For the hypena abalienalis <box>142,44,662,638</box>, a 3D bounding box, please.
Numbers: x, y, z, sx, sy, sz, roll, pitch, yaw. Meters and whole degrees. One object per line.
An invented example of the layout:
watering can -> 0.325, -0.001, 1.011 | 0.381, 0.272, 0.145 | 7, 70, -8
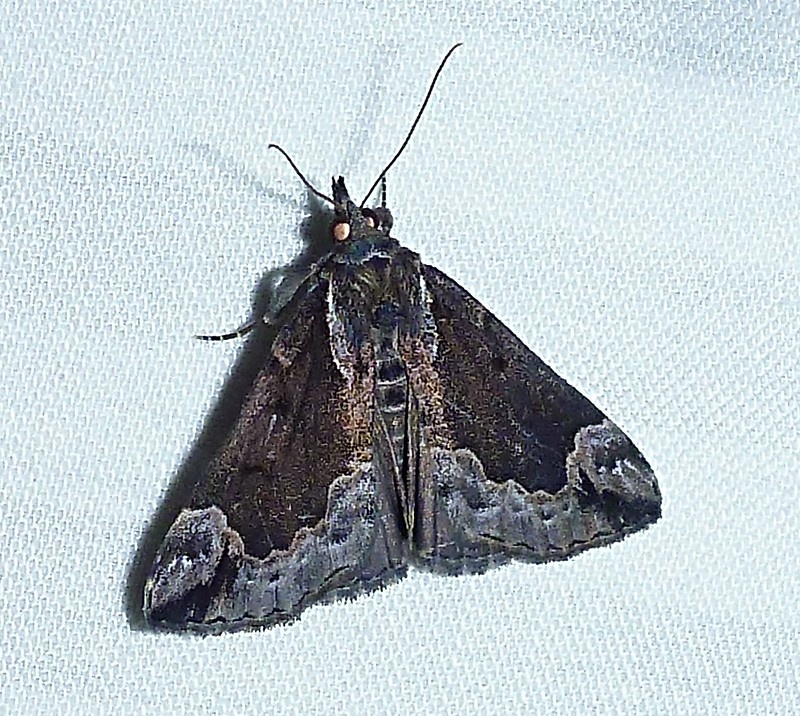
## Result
hypena abalienalis -> -0.160, 0.134, 4.147 | 1.124, 1.737, 0.396 | -5, -4, -1
